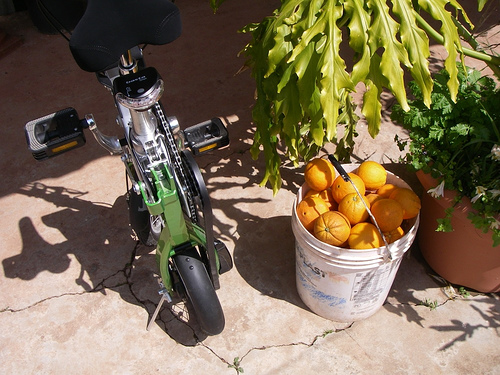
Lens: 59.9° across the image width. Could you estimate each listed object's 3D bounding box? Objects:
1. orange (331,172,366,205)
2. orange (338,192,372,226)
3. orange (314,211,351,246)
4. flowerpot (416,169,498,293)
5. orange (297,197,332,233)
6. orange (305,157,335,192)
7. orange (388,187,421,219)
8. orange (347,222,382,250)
[{"bbox_3d":[0.653,-0.009,2.854,0.192,0.202,0.195,26,19,38],"label":"orange"},{"bbox_3d":[0.659,0.158,2.754,0.134,0.146,0.183,-2,85,-6],"label":"orange"},{"bbox_3d":[0.507,0.253,2.672,0.218,0.153,0.148,0,42,12],"label":"orange"},{"bbox_3d":[1.504,0.387,3.089,0.641,0.907,0.294,17,47,28],"label":"flowerpot"},{"bbox_3d":[0.421,0.171,2.842,0.191,0.247,0.216,1,56,19],"label":"orange"},{"bbox_3d":[0.462,-0.091,2.958,0.180,0.240,0.194,-6,14,-6],"label":"orange"},{"bbox_3d":[1.007,0.089,2.845,0.194,0.181,0.189,7,38,-8],"label":"orange"},{"bbox_3d":[0.711,0.302,2.666,0.200,0.097,0.152,3,44,15],"label":"orange"}]
